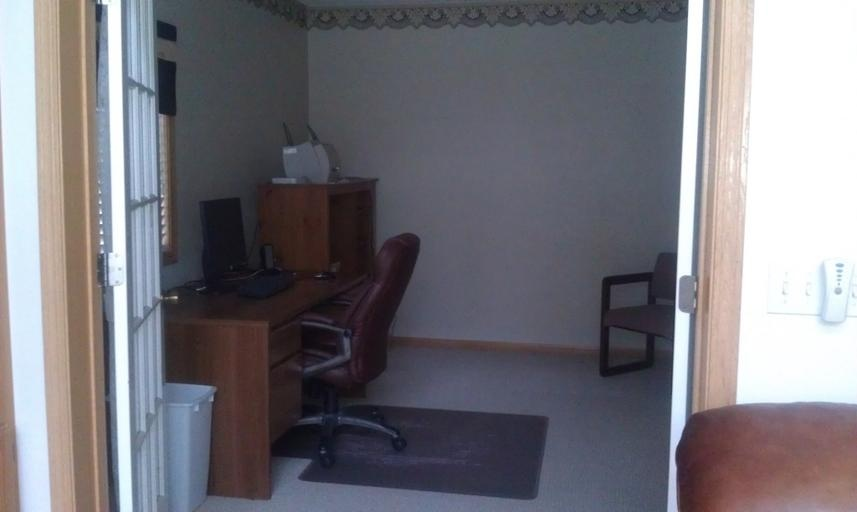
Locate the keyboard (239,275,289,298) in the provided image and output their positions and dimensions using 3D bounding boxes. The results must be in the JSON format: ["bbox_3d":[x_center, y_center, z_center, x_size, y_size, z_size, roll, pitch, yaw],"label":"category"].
[{"bbox_3d":[-0.979,0.185,4.463,0.150,0.049,0.205,3,10,26],"label":"keyboard"}]

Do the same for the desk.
[{"bbox_3d":[-0.953,0.628,4.289,0.851,0.777,1.583,0,7,0],"label":"desk"}]

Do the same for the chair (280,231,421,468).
[{"bbox_3d":[-0.649,0.476,5.103,1.167,1.688,1.234,2,4,6],"label":"chair"}]

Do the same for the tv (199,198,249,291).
[{"bbox_3d":[-1.297,-0.061,4.635,0.172,0.538,0.533,-3,6,13],"label":"tv"}]

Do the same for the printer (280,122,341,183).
[{"bbox_3d":[-0.863,-0.741,5.471,0.527,0.541,0.319,2,8,10],"label":"printer"}]
